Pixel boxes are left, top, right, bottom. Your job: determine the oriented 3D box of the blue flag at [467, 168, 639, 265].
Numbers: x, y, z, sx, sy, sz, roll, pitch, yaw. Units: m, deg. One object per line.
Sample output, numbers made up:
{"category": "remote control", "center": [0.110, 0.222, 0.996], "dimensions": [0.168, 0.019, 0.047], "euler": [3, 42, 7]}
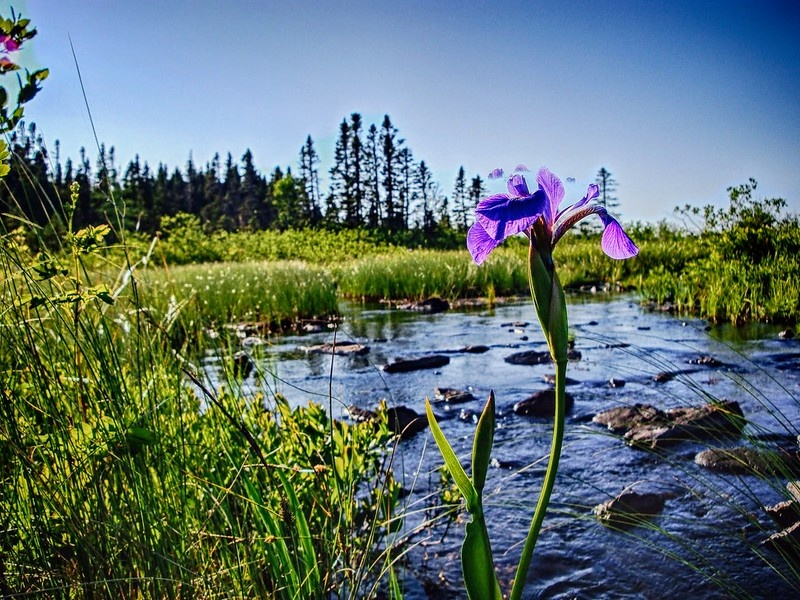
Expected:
{"category": "blue flag", "center": [0.590, -0.318, 2.893], "dimensions": [0.638, 0.349, 0.376], "euler": [-4, 5, -20]}
